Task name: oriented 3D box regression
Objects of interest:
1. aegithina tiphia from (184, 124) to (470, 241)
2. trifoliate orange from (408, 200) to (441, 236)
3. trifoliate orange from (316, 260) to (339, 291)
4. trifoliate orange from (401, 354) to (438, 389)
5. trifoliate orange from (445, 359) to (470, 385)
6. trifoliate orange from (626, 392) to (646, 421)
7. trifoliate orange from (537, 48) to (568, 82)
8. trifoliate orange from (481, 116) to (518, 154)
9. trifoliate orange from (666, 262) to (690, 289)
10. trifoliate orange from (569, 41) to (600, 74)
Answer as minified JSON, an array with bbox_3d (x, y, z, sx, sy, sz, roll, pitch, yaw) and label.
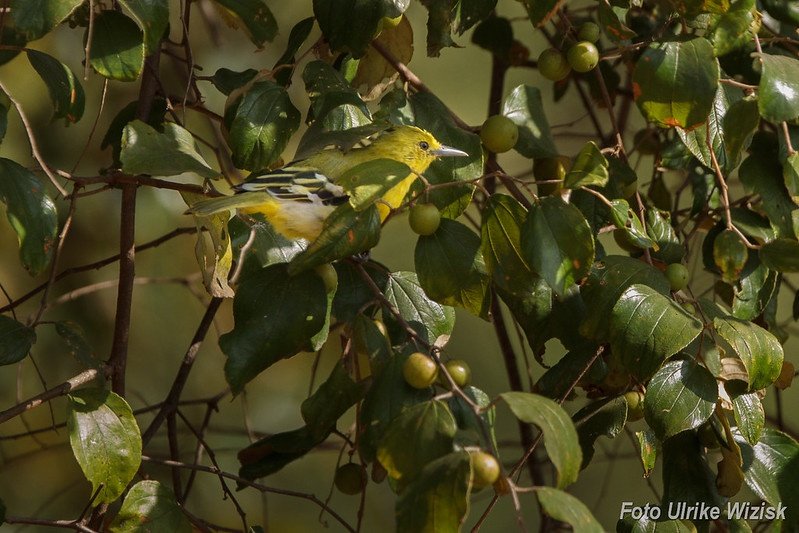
[{"bbox_3d":[-0.172,-0.187,2.129,0.580,0.310,0.217,7,-2,-1],"label":"aegithina tiphia"},{"bbox_3d":[0.049,-0.102,1.923,0.060,0.065,0.059,9,-21,-37],"label":"trifoliate orange"},{"bbox_3d":[-0.152,0.016,2.011,0.014,0.044,0.056,9,-47,47],"label":"trifoliate orange"},{"bbox_3d":[0.051,0.222,1.902,0.073,0.079,0.075,16,-11,-15],"label":"trifoliate orange"},{"bbox_3d":[0.112,0.213,1.920,0.044,0.056,0.047,-18,-29,-12],"label":"trifoliate orange"},{"bbox_3d":[0.528,0.312,2.114,0.049,0.066,0.052,1,-14,-5],"label":"trifoliate orange"},{"bbox_3d":[0.344,-0.459,2.116,0.070,0.080,0.076,5,11,-10],"label":"trifoliate orange"},{"bbox_3d":[0.217,-0.301,2.063,0.083,0.103,0.087,-5,11,-20],"label":"trifoliate orange"},{"bbox_3d":[0.610,0.016,2.080,0.049,0.066,0.052,2,1,1],"label":"trifoliate orange"},{"bbox_3d":[0.405,-0.467,2.075,0.068,0.075,0.079,-6,-31,16],"label":"trifoliate orange"}]
